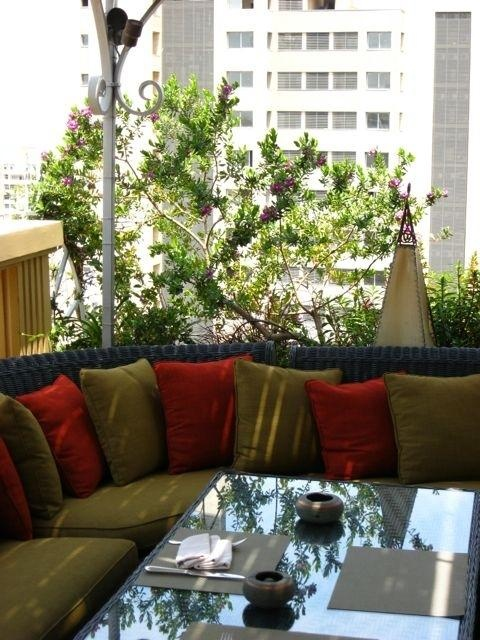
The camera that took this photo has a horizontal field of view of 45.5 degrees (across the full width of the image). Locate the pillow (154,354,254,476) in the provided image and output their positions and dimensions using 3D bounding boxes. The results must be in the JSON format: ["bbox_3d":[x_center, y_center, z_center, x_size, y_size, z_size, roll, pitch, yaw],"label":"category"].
[{"bbox_3d":[-0.138,0.385,2.187,0.360,0.359,0.130,-11,-4,-33],"label":"pillow"}]

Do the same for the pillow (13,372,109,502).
[{"bbox_3d":[-0.617,0.411,2.110,0.223,0.356,0.428,0,10,-1],"label":"pillow"}]

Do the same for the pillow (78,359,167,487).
[{"bbox_3d":[-0.427,0.397,2.093,0.193,0.340,0.401,3,4,27],"label":"pillow"}]

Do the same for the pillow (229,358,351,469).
[{"bbox_3d":[0.201,0.388,2.245,0.449,0.435,0.163,4,3,-10],"label":"pillow"}]
